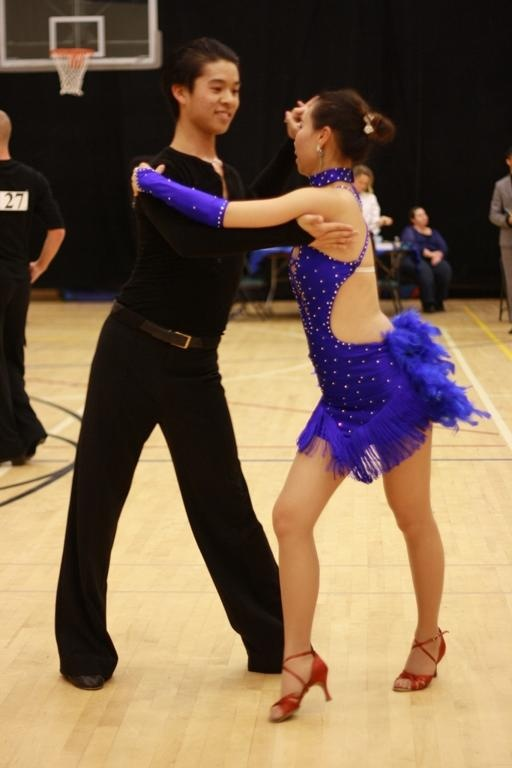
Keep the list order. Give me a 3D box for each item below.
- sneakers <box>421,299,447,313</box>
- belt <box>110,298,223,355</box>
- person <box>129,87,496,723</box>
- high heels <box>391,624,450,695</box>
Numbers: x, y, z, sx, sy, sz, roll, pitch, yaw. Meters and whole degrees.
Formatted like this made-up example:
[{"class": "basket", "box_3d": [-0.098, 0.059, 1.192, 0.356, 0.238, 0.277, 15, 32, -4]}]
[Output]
[{"class": "sneakers", "box_3d": [3.011, -1.315, 11.897, 0.244, 0.141, 0.381, 0, 1, -5]}, {"class": "belt", "box_3d": [-0.226, -0.127, 1.677, 0.162, 0.035, 0.140, 25, 6, -17]}, {"class": "person", "box_3d": [0.171, 0.051, 1.636, 0.786, 1.476, 0.230, -2, 3, -23]}, {"class": "high heels", "box_3d": [0.449, 0.718, 1.820, 0.079, 0.111, 0.233, -2, -2, 33]}]
